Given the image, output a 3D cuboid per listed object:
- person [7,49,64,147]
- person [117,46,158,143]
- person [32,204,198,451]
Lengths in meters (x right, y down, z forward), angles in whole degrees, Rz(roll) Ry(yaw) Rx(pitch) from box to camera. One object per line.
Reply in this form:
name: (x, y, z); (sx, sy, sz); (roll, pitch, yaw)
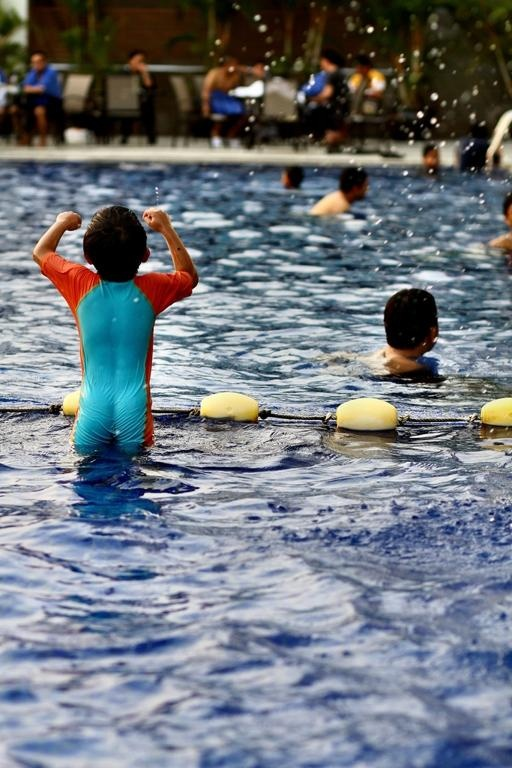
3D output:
person: (-2.874, -3.819, 12.867); (0.633, 1.167, 1.326); (1, 11, -11)
person: (-1.778, -4.438, 14.771); (0.528, 1.424, 1.467); (1, 11, -8)
person: (-0.428, -0.165, 2.977); (0.497, 0.764, 0.282); (1, 13, -11)
